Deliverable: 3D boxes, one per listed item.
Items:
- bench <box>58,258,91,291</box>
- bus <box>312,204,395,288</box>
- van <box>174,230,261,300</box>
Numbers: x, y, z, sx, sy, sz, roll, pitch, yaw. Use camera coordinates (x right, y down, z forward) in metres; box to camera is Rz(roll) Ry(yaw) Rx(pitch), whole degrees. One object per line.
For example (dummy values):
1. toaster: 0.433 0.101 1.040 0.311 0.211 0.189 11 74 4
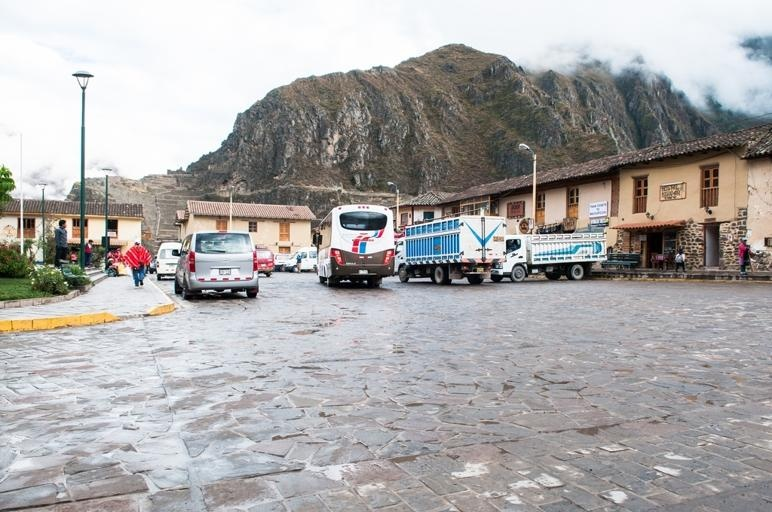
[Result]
1. bench: -11.546 0.685 19.940 0.780 0.835 1.469 -1 0 1
2. bus: -1.381 -0.438 23.814 2.499 3.253 3.167 2 -1 -17
3. van: -5.734 0.301 18.312 2.123 2.211 2.313 2 -1 -27
